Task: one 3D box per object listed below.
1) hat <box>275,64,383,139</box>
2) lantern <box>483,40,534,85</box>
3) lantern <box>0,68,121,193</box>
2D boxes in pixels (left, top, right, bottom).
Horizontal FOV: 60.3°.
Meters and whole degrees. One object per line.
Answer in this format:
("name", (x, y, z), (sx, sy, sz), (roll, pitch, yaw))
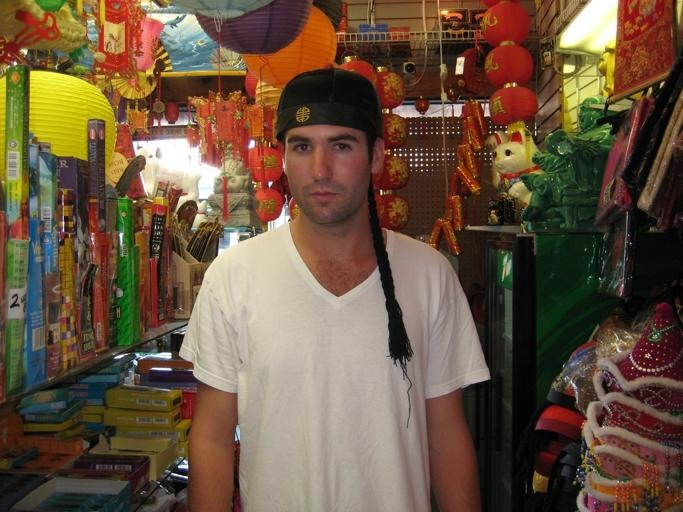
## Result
("hat", (-0.019, -0.446, 1.735), (0.230, 0.161, 0.240), (-1, 3, -23))
("lantern", (1.106, -1.253, 3.894), (0.257, 0.271, 0.259), (-2, 0, 22))
("lantern", (-0.953, -0.385, 1.941), (0.323, 0.416, 0.326), (-2, 7, -41))
